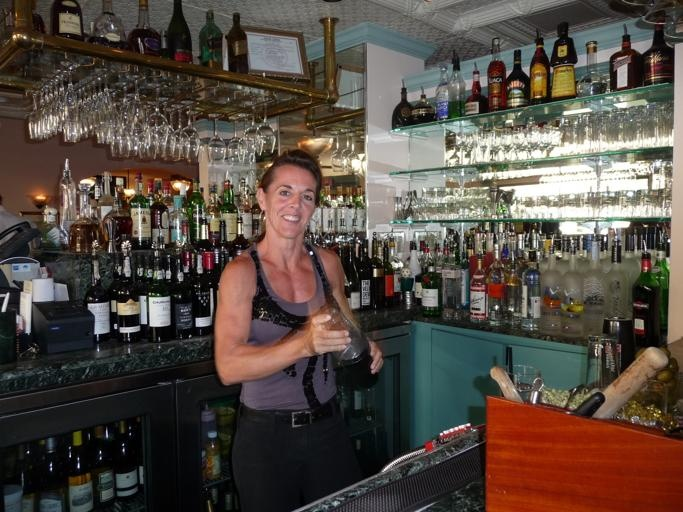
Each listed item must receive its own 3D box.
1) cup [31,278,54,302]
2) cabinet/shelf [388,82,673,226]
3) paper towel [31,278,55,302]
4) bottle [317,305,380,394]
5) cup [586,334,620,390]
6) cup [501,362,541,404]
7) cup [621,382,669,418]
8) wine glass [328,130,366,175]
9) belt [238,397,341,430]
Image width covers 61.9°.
[{"bbox_3d":[-1.237,0.143,2.350,0.056,0.104,0.060,-15,-19,-5],"label":"cup"},{"bbox_3d":[1.206,-0.541,3.379,2.286,0.585,0.837,2,6,31],"label":"cabinet/shelf"},{"bbox_3d":[-1.236,0.141,2.352,0.063,0.117,0.068,-27,-22,31],"label":"paper towel"},{"bbox_3d":[-0.001,0.324,1.924,0.190,0.289,0.244,1,5,25],"label":"bottle"},{"bbox_3d":[0.809,0.328,1.754,0.095,0.149,0.135,1,5,25],"label":"cup"},{"bbox_3d":[0.489,0.341,1.621,0.123,0.139,0.132,-6,0,0],"label":"cup"},{"bbox_3d":[0.843,0.385,1.576,0.106,0.110,0.105,1,-5,0],"label":"cup"},{"bbox_3d":[0.048,-0.700,3.908,0.279,0.267,0.275,-2,4,-44],"label":"wine glass"},{"bbox_3d":[-0.193,0.579,2.100,0.369,0.069,0.143,-2,4,-3],"label":"belt"}]
